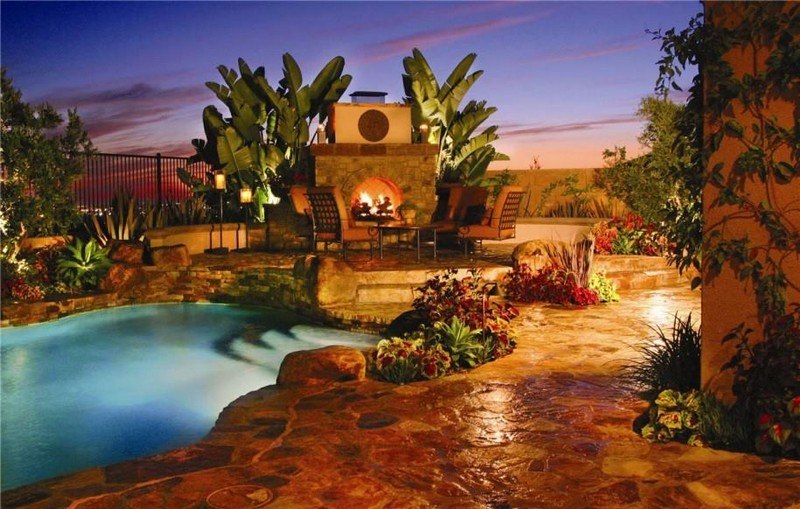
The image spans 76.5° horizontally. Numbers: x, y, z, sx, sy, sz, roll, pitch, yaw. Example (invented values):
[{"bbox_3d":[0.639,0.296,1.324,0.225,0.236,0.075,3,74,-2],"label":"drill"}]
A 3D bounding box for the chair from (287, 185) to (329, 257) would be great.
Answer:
[{"bbox_3d":[-2.331,-0.845,12.838,0.820,1.942,1.257,5,24,35],"label":"chair"}]

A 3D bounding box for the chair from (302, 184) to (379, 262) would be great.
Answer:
[{"bbox_3d":[-1.316,-0.794,11.623,1.343,1.910,1.487,2,4,42],"label":"chair"}]
